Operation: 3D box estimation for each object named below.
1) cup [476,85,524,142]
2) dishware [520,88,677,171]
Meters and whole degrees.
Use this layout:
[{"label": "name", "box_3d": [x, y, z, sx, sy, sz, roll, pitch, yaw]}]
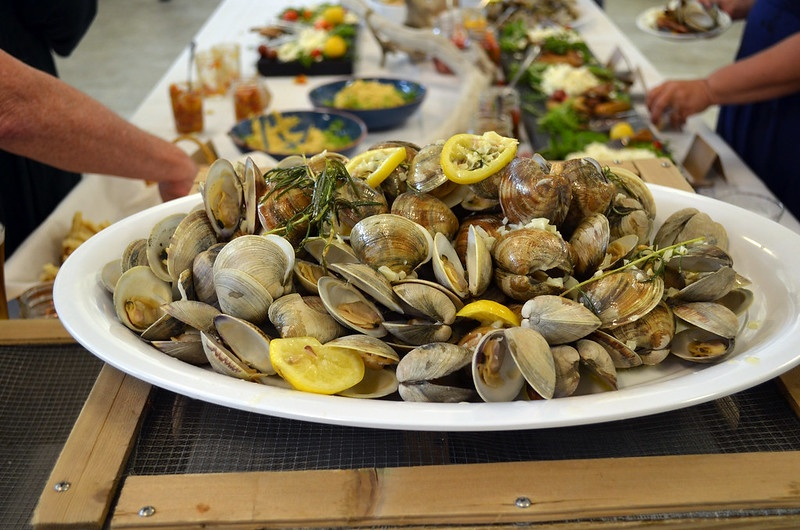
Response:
[{"label": "cup", "box_3d": [0.366, -0.539, 2.133, 0.136, 0.128, 0.202, 8, 75, 2]}, {"label": "dishware", "box_3d": [0.788, -0.570, 2.293, 0.787, 0.035, 0.281, -4, 94, -22]}]
